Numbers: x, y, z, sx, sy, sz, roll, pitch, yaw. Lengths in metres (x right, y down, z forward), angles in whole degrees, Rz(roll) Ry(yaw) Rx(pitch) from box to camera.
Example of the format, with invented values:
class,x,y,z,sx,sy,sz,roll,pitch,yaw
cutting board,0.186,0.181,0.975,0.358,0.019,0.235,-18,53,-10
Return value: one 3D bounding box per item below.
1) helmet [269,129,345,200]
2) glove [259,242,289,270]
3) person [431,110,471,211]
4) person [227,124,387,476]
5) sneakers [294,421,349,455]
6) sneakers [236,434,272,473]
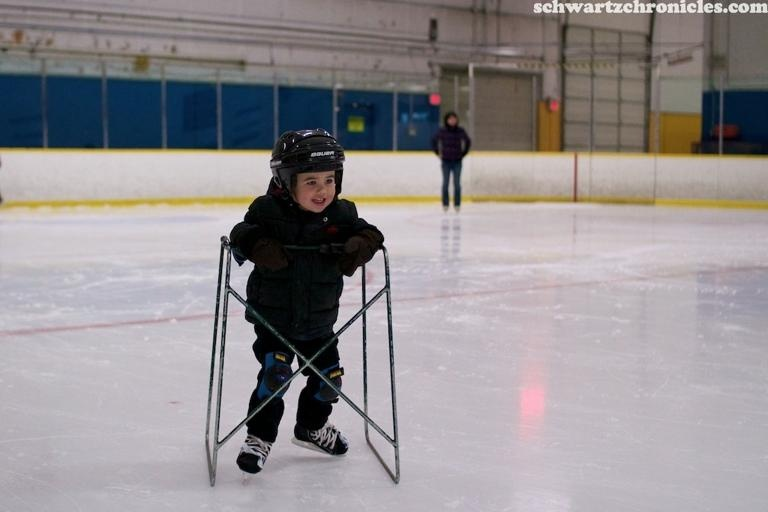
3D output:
class,x,y,z,sx,sy,sz,roll,pitch,yaw
helmet,-0.308,-0.346,3.595,0.282,0.312,0.337,-13,11,-25
glove,-0.417,0.000,3.412,0.098,0.103,0.031,-1,8,-10
person,0.851,-1.178,11.283,0.406,1.207,0.608,-1,8,-11
person,-0.304,0.172,3.544,0.588,1.322,0.322,-1,8,-9
sneakers,-0.246,0.734,3.668,0.221,0.123,0.104,19,7,-8
sneakers,-0.507,0.765,3.520,0.101,0.165,0.055,20,-14,-6
